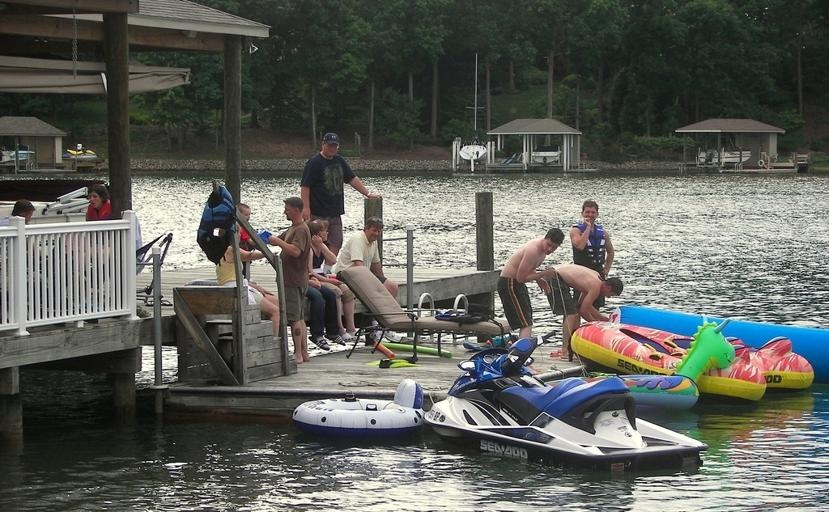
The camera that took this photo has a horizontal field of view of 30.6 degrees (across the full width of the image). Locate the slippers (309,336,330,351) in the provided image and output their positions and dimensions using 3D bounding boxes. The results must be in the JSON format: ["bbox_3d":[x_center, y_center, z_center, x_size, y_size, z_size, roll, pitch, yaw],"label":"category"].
[{"bbox_3d":[-2.025,1.774,31.723,0.542,0.196,0.178,31,59,21],"label":"slippers"}]

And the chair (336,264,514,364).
[{"bbox_3d":[0.332,1.101,32.052,3.601,1.434,1.858,1,5,13],"label":"chair"}]

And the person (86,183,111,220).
[{"bbox_3d":[-6.750,-1.151,32.183,0.478,0.737,0.854,-3,5,-22],"label":"person"}]

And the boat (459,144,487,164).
[{"bbox_3d":[3.923,-6.917,101.096,1.653,1.034,1.952,0,4,12],"label":"boat"}]

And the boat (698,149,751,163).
[{"bbox_3d":[20.518,-6.466,98.239,3.639,0.720,1.094,1,7,5],"label":"boat"}]

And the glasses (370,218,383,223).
[{"bbox_3d":[-0.818,-0.751,32.410,0.243,0.124,0.350,-1,4,-1],"label":"glasses"}]

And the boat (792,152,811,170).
[{"bbox_3d":[24.558,-5.813,95.448,0.862,1.077,2.684,0,4,10],"label":"boat"}]

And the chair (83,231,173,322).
[{"bbox_3d":[-5.977,0.177,30.819,2.001,2.044,1.739,0,7,1],"label":"chair"}]

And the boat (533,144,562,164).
[{"bbox_3d":[8.794,-6.741,100.578,1.803,1.189,1.030,1,5,17],"label":"boat"}]

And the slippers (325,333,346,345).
[{"bbox_3d":[-1.673,1.748,32.089,0.499,0.169,0.156,15,32,-14],"label":"slippers"}]
